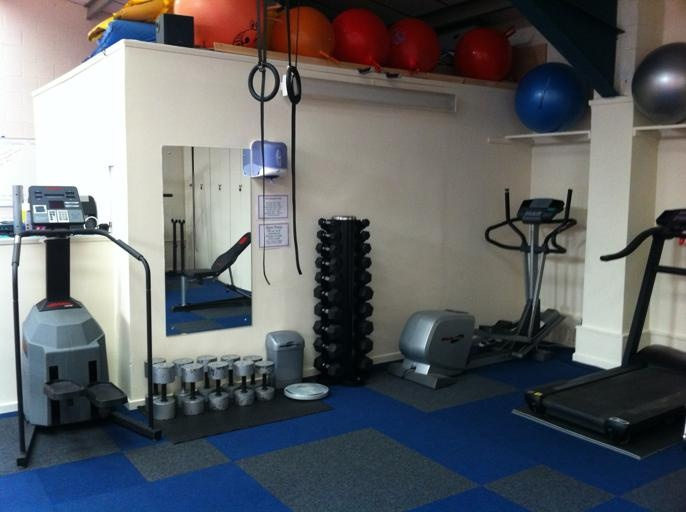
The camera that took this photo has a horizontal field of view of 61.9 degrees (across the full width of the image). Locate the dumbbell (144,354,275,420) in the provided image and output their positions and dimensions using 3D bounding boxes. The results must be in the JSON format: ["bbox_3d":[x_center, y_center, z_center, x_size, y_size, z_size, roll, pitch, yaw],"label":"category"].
[{"bbox_3d":[-1.139,1.106,5.122,1.086,0.452,0.400,-5,13,-23],"label":"dumbbell"}]

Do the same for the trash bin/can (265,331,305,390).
[{"bbox_3d":[-0.550,0.982,5.508,0.330,0.497,0.420,0,1,-21],"label":"trash bin/can"}]

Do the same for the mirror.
[{"bbox_3d":[-1.232,-0.153,5.203,0.773,1.637,0.096,-2,8,-33],"label":"mirror"}]

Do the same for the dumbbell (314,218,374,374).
[{"bbox_3d":[0.005,0.420,5.766,0.529,1.578,0.552,0,1,-1],"label":"dumbbell"}]
